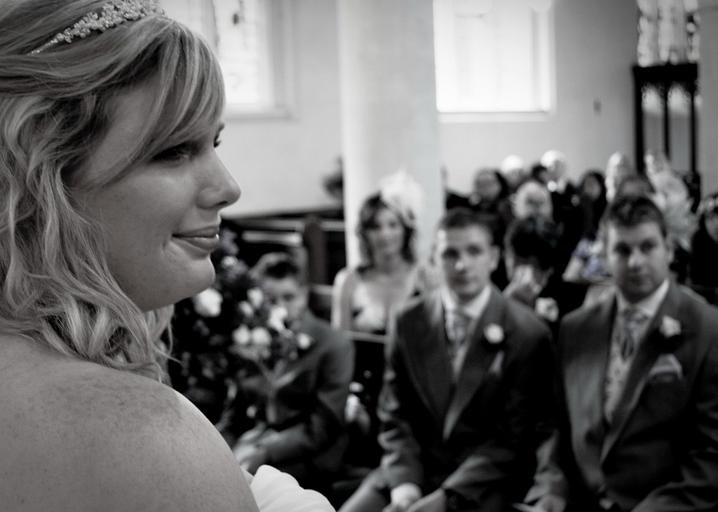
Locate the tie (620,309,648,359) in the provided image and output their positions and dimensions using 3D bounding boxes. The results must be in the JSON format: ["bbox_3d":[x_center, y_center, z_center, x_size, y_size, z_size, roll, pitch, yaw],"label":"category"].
[{"bbox_3d":[0.882,0.249,2.610,0.080,0.154,0.035,15,6,25],"label":"tie"}]
